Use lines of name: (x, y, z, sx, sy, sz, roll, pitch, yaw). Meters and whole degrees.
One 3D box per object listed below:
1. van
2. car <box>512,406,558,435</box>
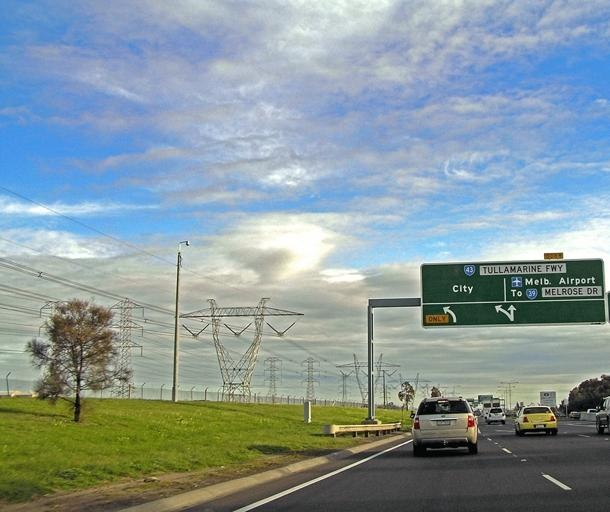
van: (5.114, 6.289, 25.714, 2.273, 2.163, 0.998, 1, -13, 5)
car: (13.371, 9.538, 40.796, 1.781, 0.987, 2.657, -1, -5, 8)
